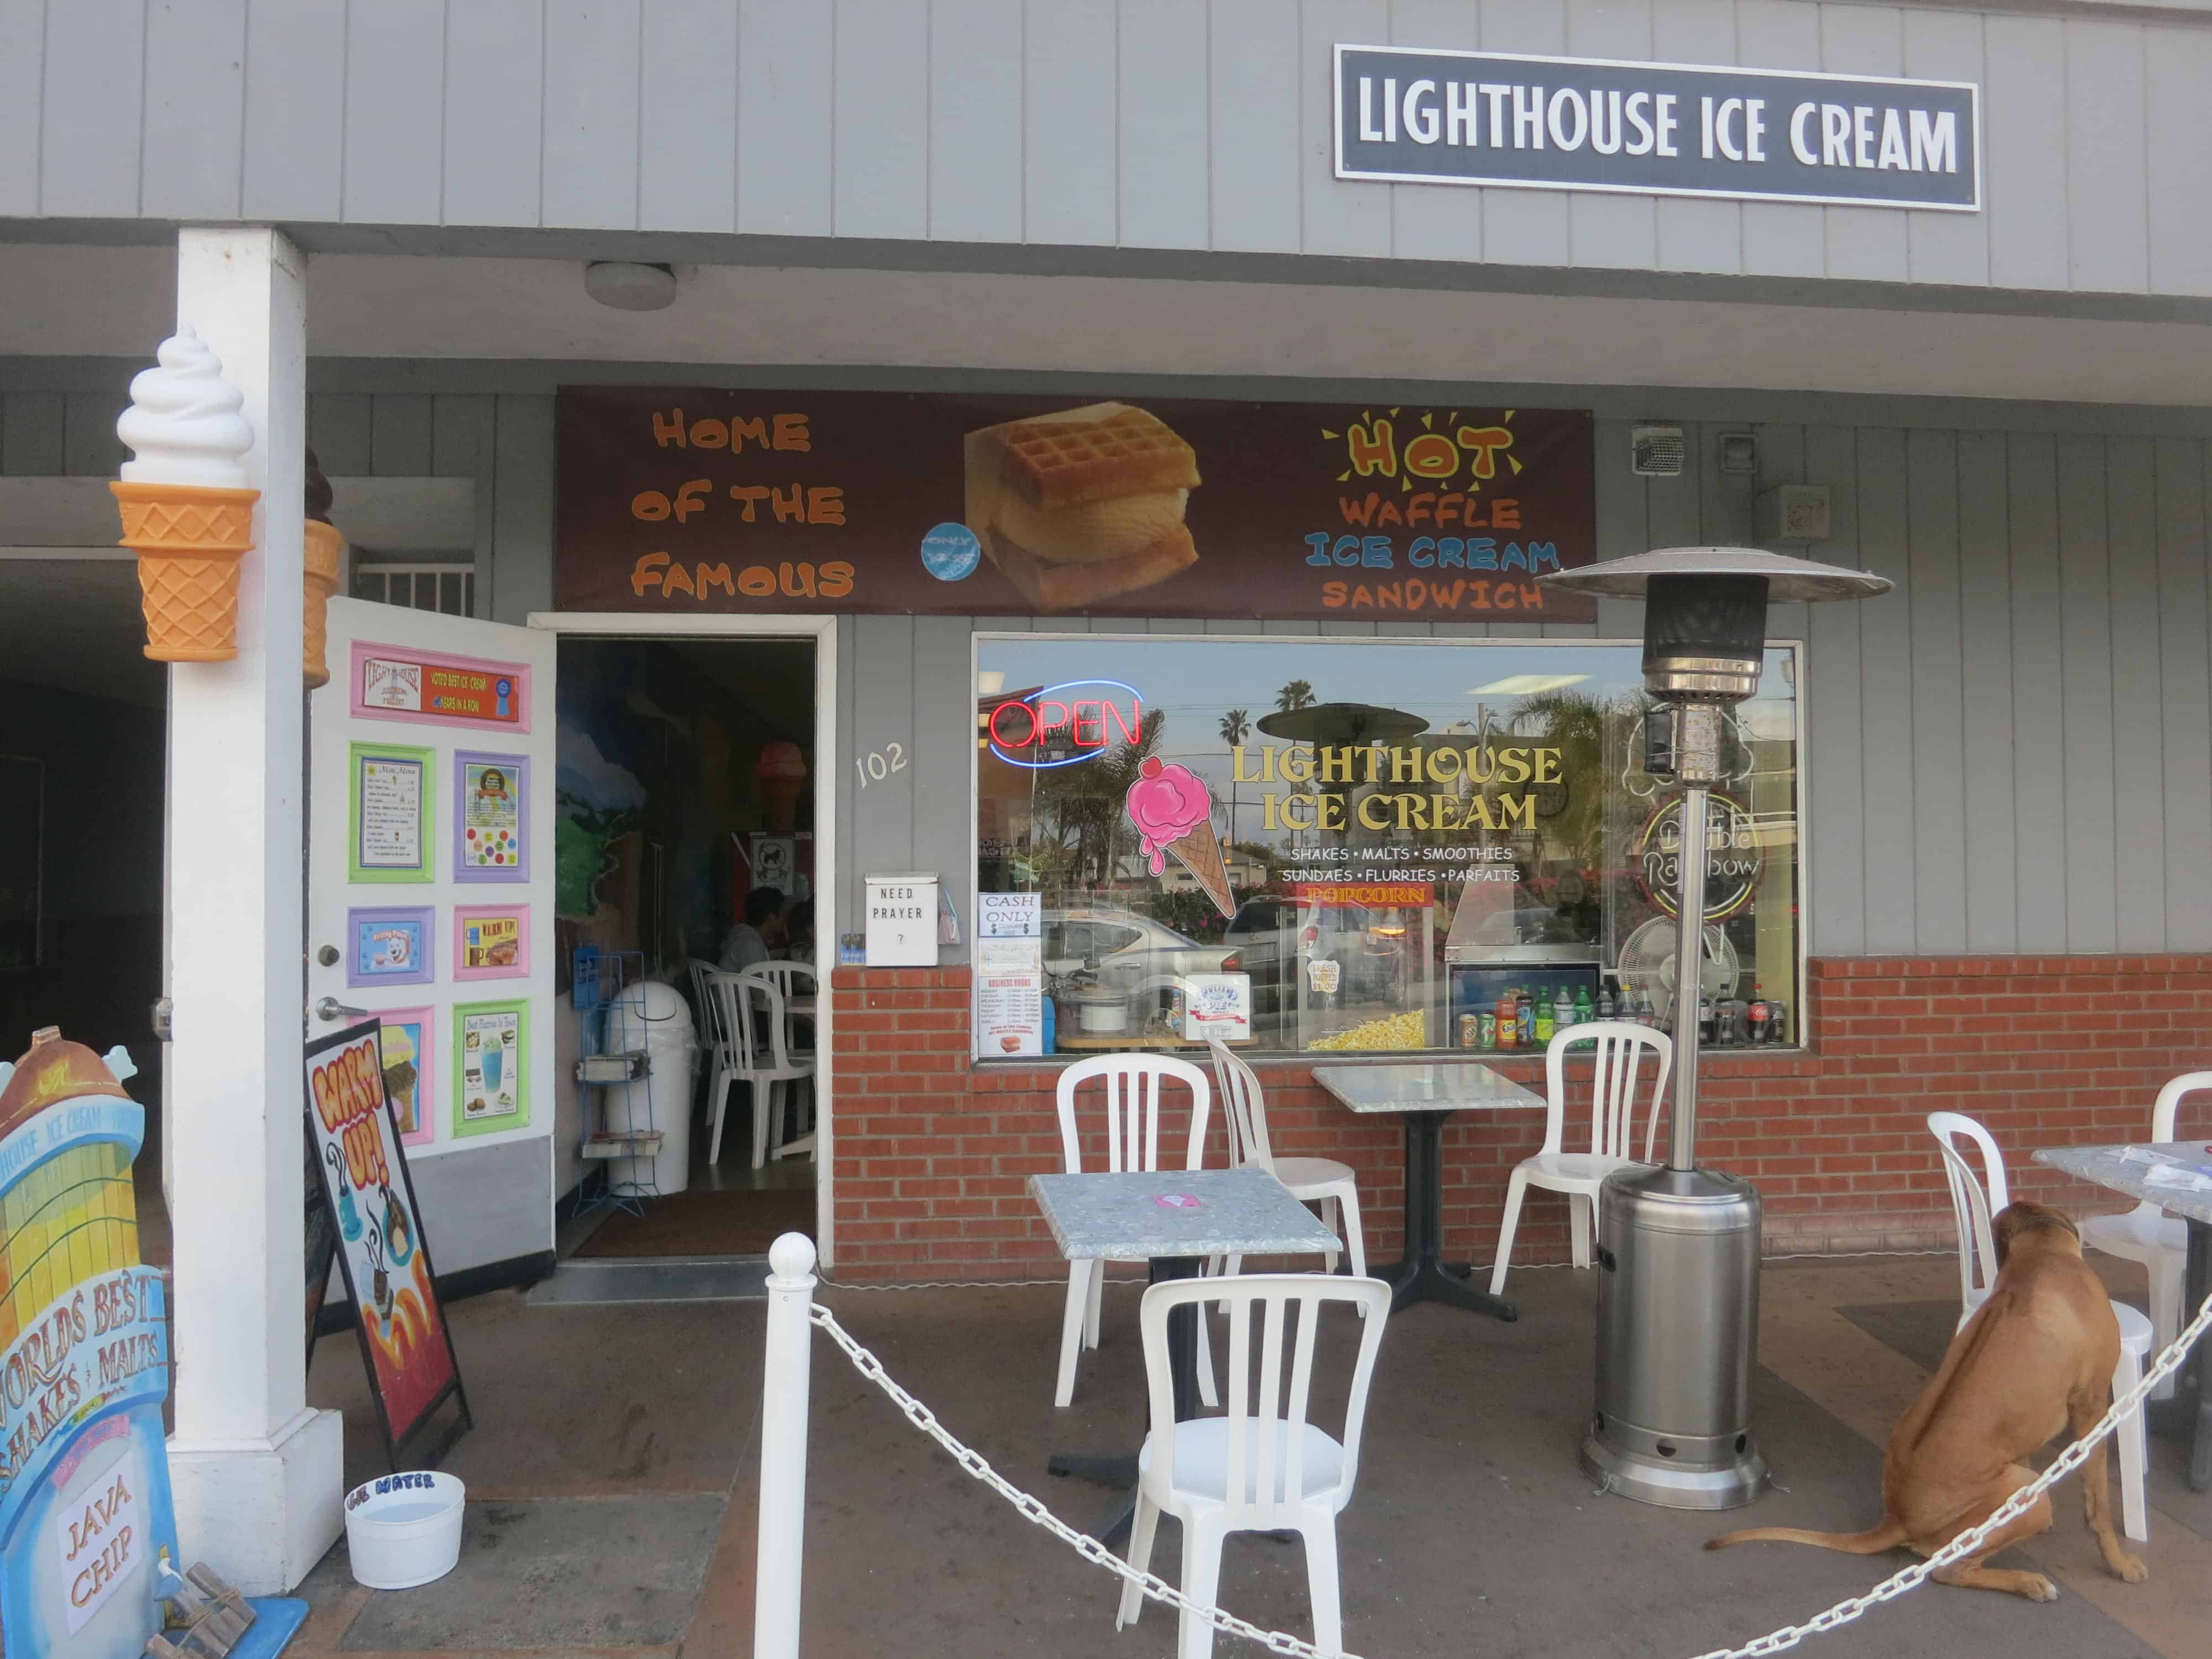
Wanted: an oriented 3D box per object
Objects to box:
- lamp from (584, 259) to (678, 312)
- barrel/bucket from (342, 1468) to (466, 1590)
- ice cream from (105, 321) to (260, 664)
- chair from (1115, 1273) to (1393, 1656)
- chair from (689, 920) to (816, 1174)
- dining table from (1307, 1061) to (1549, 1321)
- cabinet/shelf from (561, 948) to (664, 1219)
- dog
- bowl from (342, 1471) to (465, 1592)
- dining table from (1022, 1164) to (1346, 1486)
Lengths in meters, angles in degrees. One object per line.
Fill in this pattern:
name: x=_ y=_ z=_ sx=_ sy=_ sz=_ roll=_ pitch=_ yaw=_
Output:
lamp: x=-1.514 y=-1.768 z=7.070 sx=0.279 sy=0.120 sz=0.480 roll=-1 pitch=5 yaw=-12
barrel/bucket: x=-1.992 y=1.975 z=6.239 sx=0.272 sy=0.184 sz=0.289 roll=3 pitch=6 yaw=0
ice cream: x=-2.545 y=-0.937 z=6.147 sx=0.354 sy=0.919 sz=0.384 roll=6 pitch=5 yaw=33
chair: x=0.388 y=1.648 z=6.128 sx=0.689 sy=1.116 sz=1.333 roll=0 pitch=5 yaw=1
chair: x=-1.650 y=1.040 z=10.415 sx=0.524 sy=0.993 sz=1.548 roll=-1 pitch=5 yaw=-11
dining table: x=1.176 y=1.274 z=8.100 sx=0.809 sy=0.828 sz=0.850 roll=1 pitch=1 yaw=-8
cabinet/shelf: x=-2.055 y=1.104 z=9.176 sx=0.320 sy=1.074 sz=1.010 roll=0 pitch=3 yaw=-10
dog: x=2.517 y=1.658 z=6.323 sx=1.410 sy=1.012 sz=0.688 roll=-14 pitch=14 yaw=-27
bowl: x=-1.985 y=1.975 z=6.237 sx=0.270 sy=0.184 sz=0.288 roll=3 pitch=5 yaw=0
dining table: x=0.214 y=1.324 z=6.613 sx=0.838 sy=0.913 sz=0.886 roll=0 pitch=12 yaw=-5
